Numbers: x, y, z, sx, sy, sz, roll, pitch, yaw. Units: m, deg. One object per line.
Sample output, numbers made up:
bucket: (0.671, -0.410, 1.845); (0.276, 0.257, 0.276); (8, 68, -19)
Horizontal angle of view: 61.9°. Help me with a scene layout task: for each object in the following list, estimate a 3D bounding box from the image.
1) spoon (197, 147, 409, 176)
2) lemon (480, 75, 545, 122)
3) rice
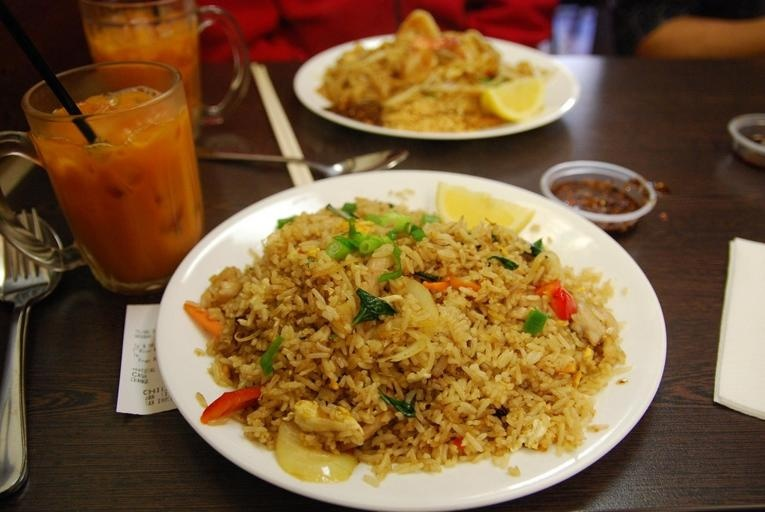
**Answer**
spoon: (-0.385, -0.444, 3.051); (1.169, 0.122, 0.190); (0, 40, 1)
lemon: (0.659, -0.800, 3.280); (0.422, 0.189, 0.238); (-21, 36, -36)
rice: (-0.064, 0.138, 2.714); (1.835, 0.569, 1.393); (22, 37, 38)
